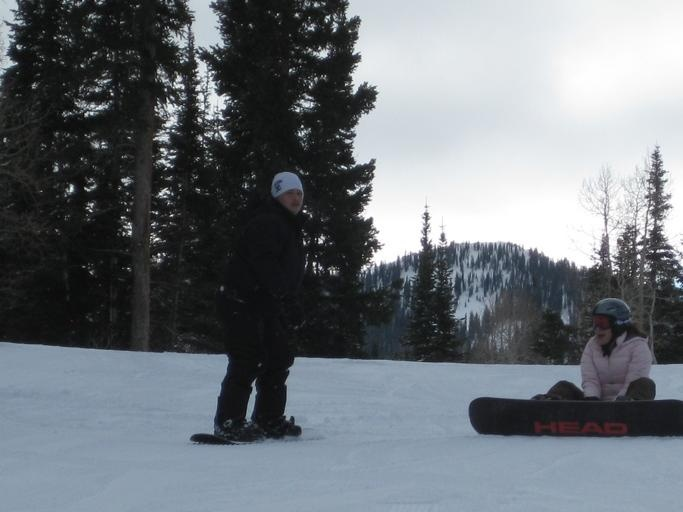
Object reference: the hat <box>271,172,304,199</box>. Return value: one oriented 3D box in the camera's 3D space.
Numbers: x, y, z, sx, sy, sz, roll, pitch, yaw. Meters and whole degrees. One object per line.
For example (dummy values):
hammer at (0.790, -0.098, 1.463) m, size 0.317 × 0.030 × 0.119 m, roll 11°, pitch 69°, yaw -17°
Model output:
hat at (-1.260, -1.520, 24.100) m, size 0.564 × 0.505 × 0.561 m, roll 1°, pitch 0°, yaw -8°
